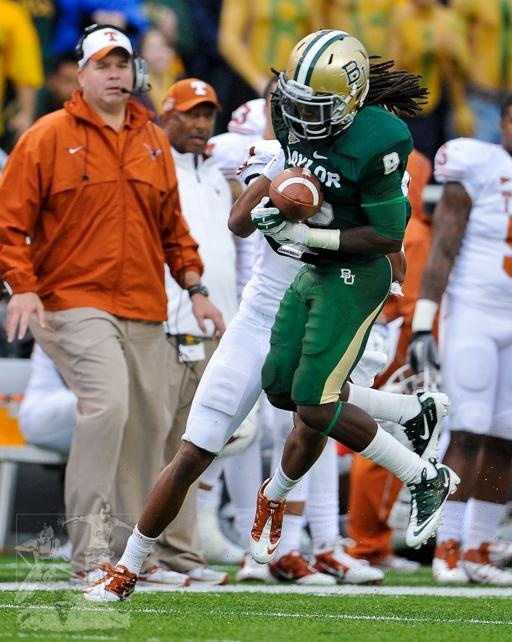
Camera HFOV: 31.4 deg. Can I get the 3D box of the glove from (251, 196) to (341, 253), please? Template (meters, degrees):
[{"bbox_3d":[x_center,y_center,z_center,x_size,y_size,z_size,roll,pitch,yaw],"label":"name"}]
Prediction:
[{"bbox_3d":[0.113,-0.247,2.608,0.223,0.088,0.152,16,-12,1],"label":"glove"}]

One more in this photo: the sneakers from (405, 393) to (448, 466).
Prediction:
[{"bbox_3d":[0.573,0.362,3.111,0.159,0.218,0.147,6,14,29],"label":"sneakers"}]

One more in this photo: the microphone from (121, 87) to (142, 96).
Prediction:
[{"bbox_3d":[-0.484,-0.885,3.526,0.061,0.019,0.043,5,1,18],"label":"microphone"}]

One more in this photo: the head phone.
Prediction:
[{"bbox_3d":[-0.579,-1.006,3.595,0.380,0.302,0.275,0,5,-18],"label":"head phone"}]

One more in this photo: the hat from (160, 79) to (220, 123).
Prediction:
[{"bbox_3d":[-0.314,-1.054,4.401,0.180,0.176,0.221,23,32,36],"label":"hat"}]

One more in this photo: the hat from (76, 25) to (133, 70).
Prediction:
[{"bbox_3d":[-0.576,-1.061,3.536,0.268,0.128,0.228,1,20,39],"label":"hat"}]

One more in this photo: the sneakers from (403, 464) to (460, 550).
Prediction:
[{"bbox_3d":[0.532,0.569,2.906,0.109,0.148,0.308,-4,43,53],"label":"sneakers"}]
